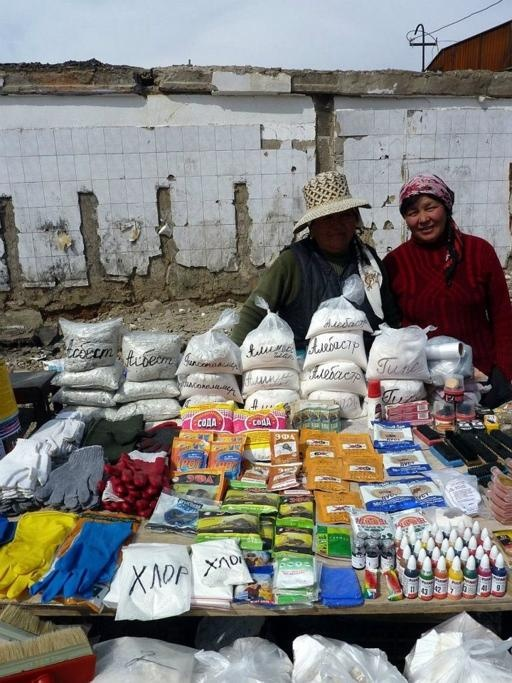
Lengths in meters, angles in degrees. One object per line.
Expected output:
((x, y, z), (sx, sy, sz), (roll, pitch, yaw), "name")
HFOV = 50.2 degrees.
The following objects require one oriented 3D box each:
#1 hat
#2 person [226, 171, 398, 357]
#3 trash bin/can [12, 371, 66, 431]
((0.356, -0.713, 2.864), (0.326, 0.179, 0.337), (-11, -10, -39), "hat")
((0.409, -0.370, 3.008), (1.230, 1.048, 0.593), (-7, 13, -12), "person")
((-1.177, 0.342, 2.907), (0.294, 0.273, 0.289), (-1, 16, 2), "trash bin/can")
